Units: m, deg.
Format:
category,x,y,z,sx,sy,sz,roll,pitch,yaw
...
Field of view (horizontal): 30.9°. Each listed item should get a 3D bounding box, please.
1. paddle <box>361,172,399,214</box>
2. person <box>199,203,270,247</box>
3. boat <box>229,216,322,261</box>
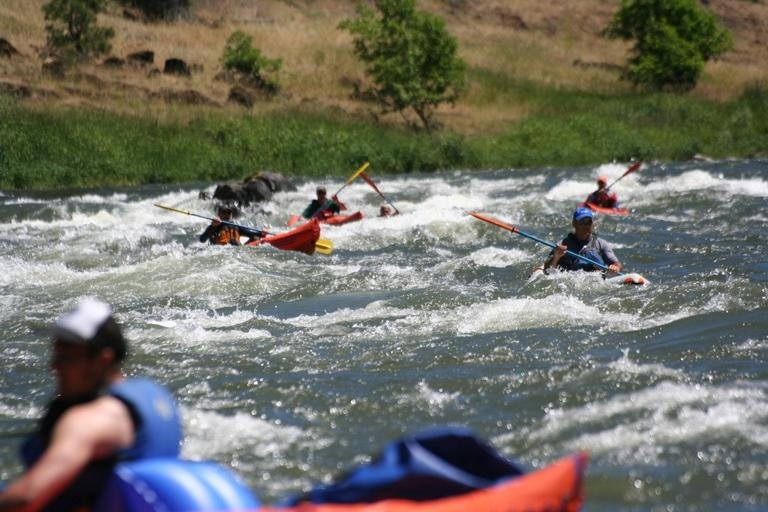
category,x,y,z,sx,sy,sz,roll,pitch,yaw
paddle,-0.247,-2.441,55.048,0.290,0.364,3.201,29,20,-39
person,-5.433,-1.088,49.675,1.262,1.278,2.888,-6,14,-13
boat,-3.636,-0.274,48.055,3.188,0.865,0.994,-22,-25,4
